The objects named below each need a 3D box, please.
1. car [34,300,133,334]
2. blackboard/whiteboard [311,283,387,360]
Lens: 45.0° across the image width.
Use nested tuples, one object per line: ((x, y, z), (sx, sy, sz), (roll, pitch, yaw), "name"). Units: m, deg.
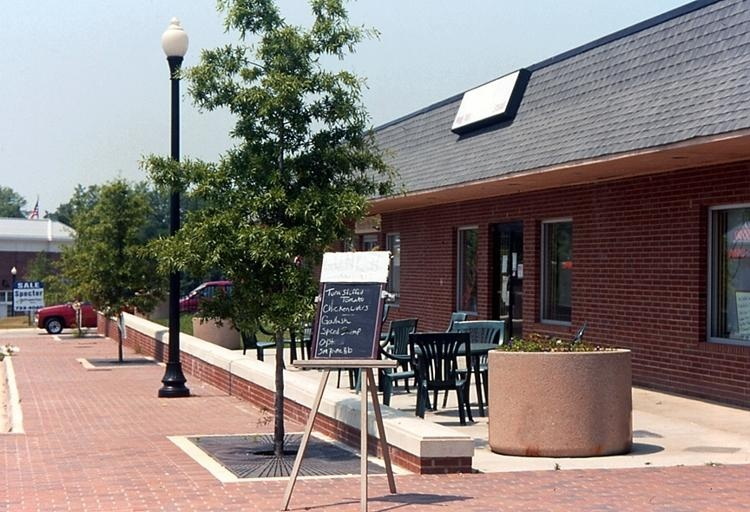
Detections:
((-10.646, 2.255, 33.007), (3.279, 1.152, 1.699), (1, -4, -3), "car")
((-0.363, 0.849, 11.877), (1.272, 1.395, 0.100), (2, -32, 8), "blackboard/whiteboard")
